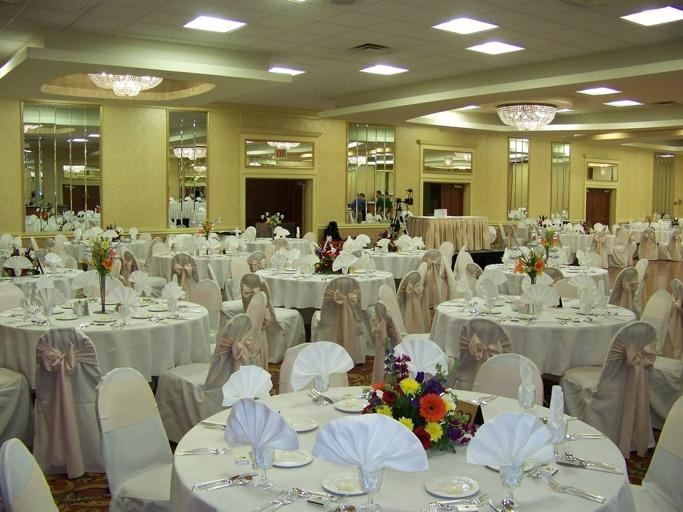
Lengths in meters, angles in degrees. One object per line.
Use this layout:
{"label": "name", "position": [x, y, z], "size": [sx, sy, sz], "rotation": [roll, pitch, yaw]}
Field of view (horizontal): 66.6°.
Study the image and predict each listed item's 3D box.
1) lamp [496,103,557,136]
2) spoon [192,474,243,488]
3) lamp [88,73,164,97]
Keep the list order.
{"label": "lamp", "position": [4.675, -3.551, 13.243], "size": [0.942, 0.450, 0.990], "rotation": [1, 4, 35]}
{"label": "spoon", "position": [-0.564, 1.020, 2.356], "size": [0.217, 0.030, 0.068], "rotation": [-2, 9, -20]}
{"label": "lamp", "position": [-4.333, -3.421, 10.451], "size": [1.219, 0.335, 0.695], "rotation": [-2, 4, -9]}
